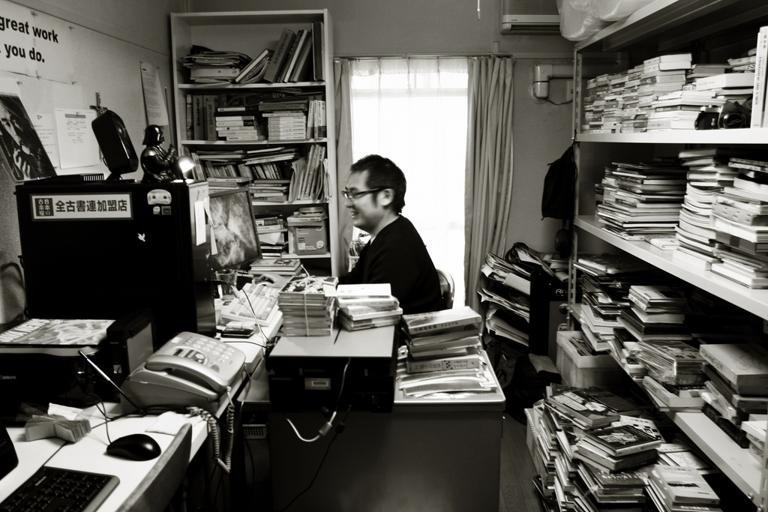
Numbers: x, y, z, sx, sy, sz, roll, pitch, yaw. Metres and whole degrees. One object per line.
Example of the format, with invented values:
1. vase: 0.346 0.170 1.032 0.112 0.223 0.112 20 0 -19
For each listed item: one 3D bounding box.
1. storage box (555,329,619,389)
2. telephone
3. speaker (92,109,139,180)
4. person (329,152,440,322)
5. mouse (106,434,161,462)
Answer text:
1. storage box: 1.290 0.546 3.823 0.283 0.309 0.505 -1 9 -2
2. telephone: -0.864 0.480 2.690 0.399 0.196 0.617 3 8 -1
3. speaker: -1.281 -0.528 2.830 0.159 0.313 0.193 -10 15 -27
4. person: 0.033 -0.127 3.582 0.716 1.048 0.996 0 1 0
5. mouse: -0.922 0.711 2.196 0.156 0.056 0.096 5 8 -6
